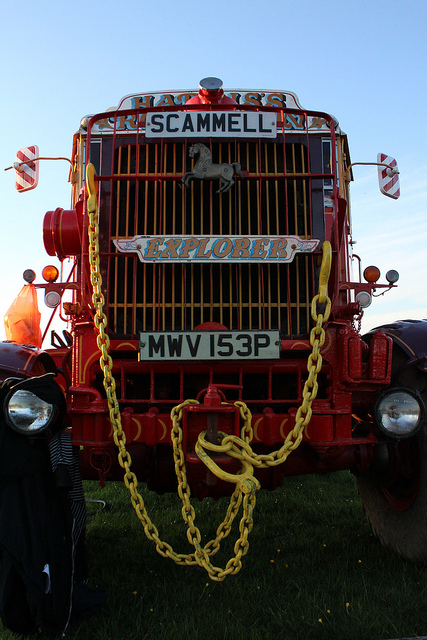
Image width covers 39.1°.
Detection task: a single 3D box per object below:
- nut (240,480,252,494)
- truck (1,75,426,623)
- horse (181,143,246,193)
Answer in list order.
[{"bbox_3d":[0.138,0.741,2.688,0.039,0.059,0.090,2,-7,-28],"label":"nut"},{"bbox_3d":[-0.048,-0.107,4.415,2.300,2.486,3.382,-1,-2,-2],"label":"truck"},{"bbox_3d":[0.001,-0.941,3.734,0.384,0.301,0.212,-2,-6,5],"label":"horse"}]
